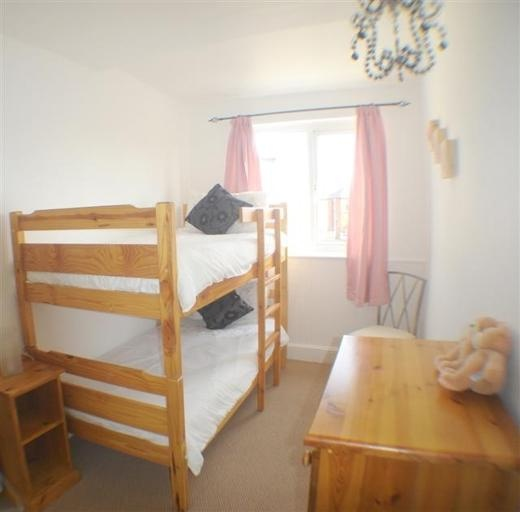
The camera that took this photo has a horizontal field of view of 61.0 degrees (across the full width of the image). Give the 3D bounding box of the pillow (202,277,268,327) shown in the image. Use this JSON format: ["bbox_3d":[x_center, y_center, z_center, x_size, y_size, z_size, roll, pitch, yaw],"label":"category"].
[{"bbox_3d":[-0.225,0.348,2.851,0.323,0.120,0.372,-26,26,-13],"label":"pillow"}]

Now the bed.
[{"bbox_3d":[-0.447,0.667,2.453,0.868,1.810,1.635,1,7,18],"label":"bed"}]
